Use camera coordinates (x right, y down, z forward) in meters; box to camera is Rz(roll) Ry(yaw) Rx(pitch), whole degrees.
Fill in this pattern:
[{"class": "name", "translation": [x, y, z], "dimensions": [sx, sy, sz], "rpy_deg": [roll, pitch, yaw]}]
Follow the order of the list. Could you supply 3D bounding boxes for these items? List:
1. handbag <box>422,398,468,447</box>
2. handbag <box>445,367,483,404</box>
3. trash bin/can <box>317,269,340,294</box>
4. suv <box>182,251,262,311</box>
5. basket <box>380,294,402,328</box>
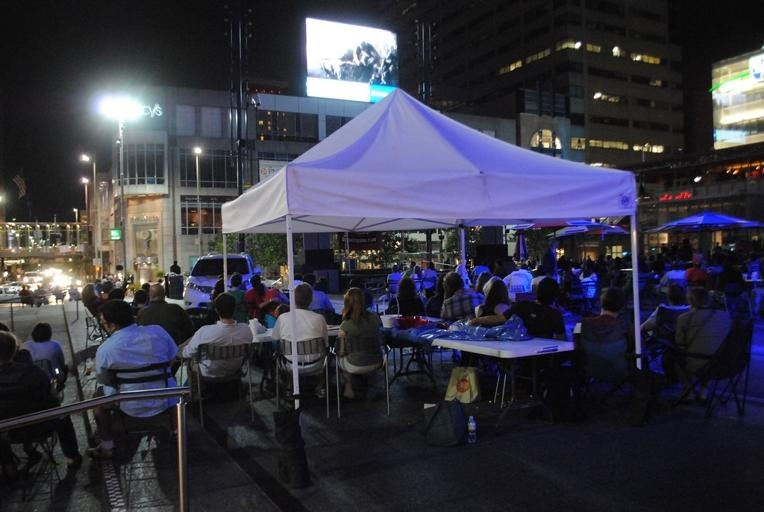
[{"class": "handbag", "translation": [0.968, 2.412, 9.767], "dimensions": [0.568, 0.633, 0.596], "rpy_deg": [-11, -13, 24]}, {"class": "handbag", "translation": [1.303, 2.066, 10.651], "dimensions": [0.506, 0.521, 0.284], "rpy_deg": [-5, -20, 31]}, {"class": "trash bin/can", "translation": [-1.971, 0.930, 24.767], "dimensions": [0.538, 0.573, 1.032], "rpy_deg": [3, 2, 0]}, {"class": "suv", "translation": [-5.165, 0.700, 20.726], "dimensions": [1.769, 1.490, 2.835], "rpy_deg": [-1, -6, -6]}, {"class": "basket", "translation": [0.092, 1.024, 12.016], "dimensions": [0.443, 0.718, 0.723], "rpy_deg": [0, -1, 2]}]
